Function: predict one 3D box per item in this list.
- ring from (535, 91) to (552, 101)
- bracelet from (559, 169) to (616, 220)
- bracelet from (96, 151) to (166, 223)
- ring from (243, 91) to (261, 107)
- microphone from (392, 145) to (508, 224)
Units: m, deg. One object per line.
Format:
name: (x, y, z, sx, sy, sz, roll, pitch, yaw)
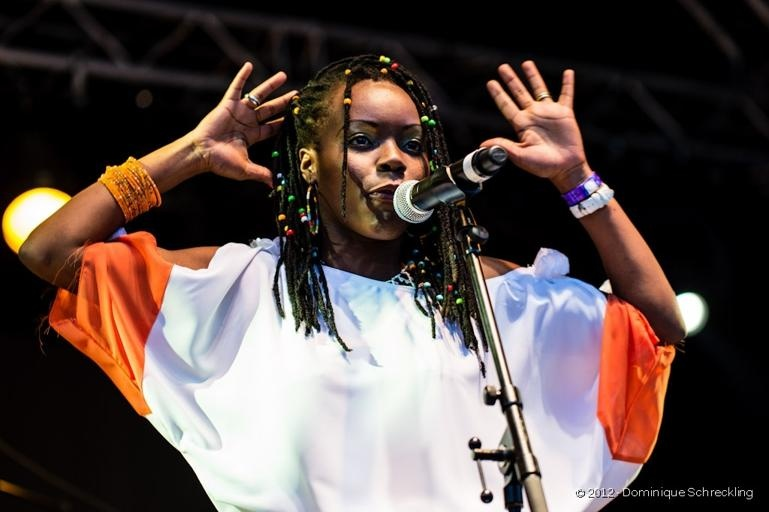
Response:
ring: (0.852, -0.858, 5.764, 0.058, 0.023, 0.059, 2, -28, 1)
bracelet: (1.089, -0.313, 5.730, 0.159, 0.273, 0.210, 45, -52, 0)
bracelet: (-1.306, -0.320, 5.670, 0.165, 0.288, 0.360, -24, -46, 4)
ring: (-0.720, -0.862, 5.862, 0.030, 0.079, 0.064, -53, -17, 14)
microphone: (0.309, -0.323, 5.231, 0.230, 0.230, 0.762, 44, -39, -21)
